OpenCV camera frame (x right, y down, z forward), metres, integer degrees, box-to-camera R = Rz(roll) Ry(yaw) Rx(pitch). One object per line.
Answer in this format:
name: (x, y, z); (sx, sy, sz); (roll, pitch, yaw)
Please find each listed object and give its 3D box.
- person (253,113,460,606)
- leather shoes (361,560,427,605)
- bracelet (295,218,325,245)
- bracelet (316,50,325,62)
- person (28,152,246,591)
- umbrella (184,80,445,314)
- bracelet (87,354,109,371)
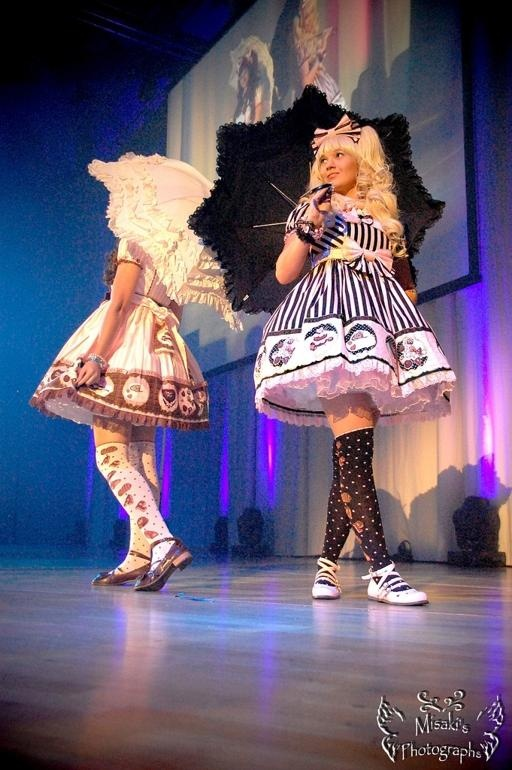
person: (0.249, -0.182, 1.745); (0.517, 1.403, 0.618); (-1, -8, 16)
leather shoes: (0.306, 0.450, 1.463); (0.061, 0.065, 0.152); (2, -13, -22)
bracelet: (0.131, -0.385, 1.675); (0.024, 0.061, 0.055); (-46, -4, 14)
bracelet: (0.412, -2.117, 4.230); (0.038, 0.107, 0.056); (2, -7, -6)
person: (-0.396, -0.060, 2.010); (0.580, 1.311, 0.496); (2, -7, -3)
umbrella: (0.177, -0.524, 2.045); (0.751, 0.740, 0.365); (-2, 38, -14)
bracelet: (-0.445, -0.063, 1.831); (0.040, 0.019, 0.044); (30, -9, 2)
